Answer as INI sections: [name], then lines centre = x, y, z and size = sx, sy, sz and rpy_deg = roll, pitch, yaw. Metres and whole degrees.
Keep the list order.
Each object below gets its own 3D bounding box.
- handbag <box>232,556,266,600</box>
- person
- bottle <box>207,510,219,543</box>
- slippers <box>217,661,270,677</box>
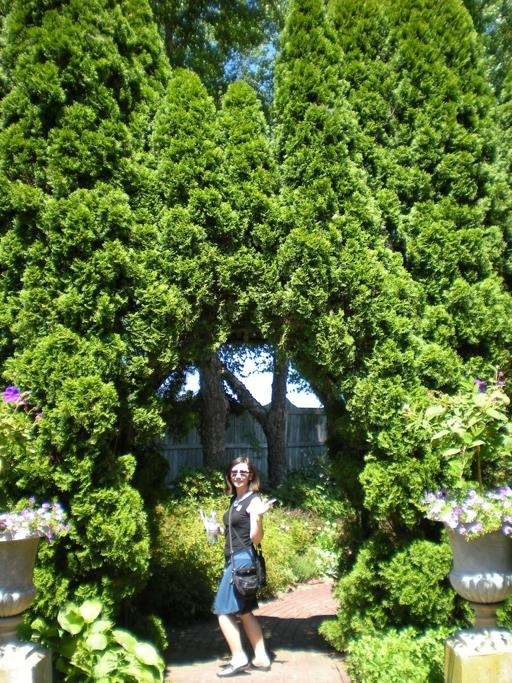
[handbag]
centre = -0.021, 1.618, 4.099
size = 0.280, 0.299, 0.118
rpy_deg = 3, -10, -33
[person]
centre = -0.119, 1.592, 4.163
size = 0.489, 1.503, 0.647
rpy_deg = -2, -8, -5
[bottle]
centre = -0.312, 1.336, 4.340
size = 0.143, 0.227, 0.056
rpy_deg = -2, 0, 10
[slippers]
centre = -0.066, 2.243, 4.101
size = 0.384, 0.100, 0.146
rpy_deg = 4, -17, -15
